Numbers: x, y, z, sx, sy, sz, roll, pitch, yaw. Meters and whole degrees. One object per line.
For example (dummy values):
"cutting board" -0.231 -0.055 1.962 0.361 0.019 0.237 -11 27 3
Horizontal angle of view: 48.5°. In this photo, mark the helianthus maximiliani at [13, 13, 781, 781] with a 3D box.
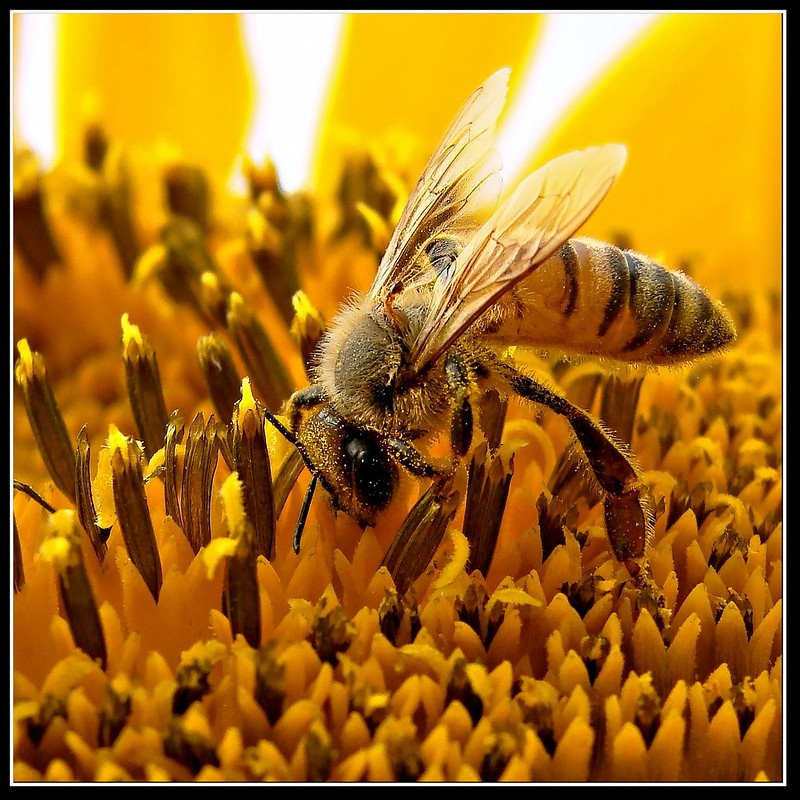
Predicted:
"helianthus maximiliani" 0.013 -0.022 1.487 0.555 0.914 0.464 9 21 20

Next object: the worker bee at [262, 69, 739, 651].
"worker bee" 0.221 -0.016 1.721 0.954 0.555 0.977 -28 -6 12
